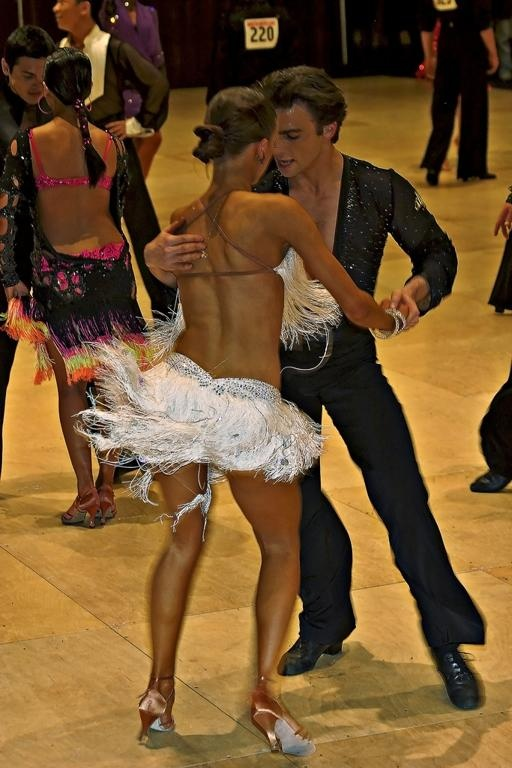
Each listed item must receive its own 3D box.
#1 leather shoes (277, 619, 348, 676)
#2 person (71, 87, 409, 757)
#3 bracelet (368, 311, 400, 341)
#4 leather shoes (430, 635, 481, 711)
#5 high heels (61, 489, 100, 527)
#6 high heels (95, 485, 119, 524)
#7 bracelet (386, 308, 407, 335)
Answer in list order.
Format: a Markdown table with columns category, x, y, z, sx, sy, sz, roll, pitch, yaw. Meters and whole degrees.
| category | x | y | z | sx | sy | sz | roll | pitch | yaw |
| --- | --- | --- | --- | --- | --- | --- | --- | --- | --- |
| leather shoes | 0.193 | 0.748 | 1.928 | 0.255 | 0.096 | 0.083 | -20 | 22 | -18 |
| person | -0.059 | 0.106 | 1.399 | 0.584 | 1.404 | 0.470 | 2 | 3 | 23 |
| bracelet | 0.320 | -0.147 | 1.579 | 0.070 | 0.067 | 0.024 | -15 | -18 | 40 |
| leather shoes | 0.528 | 0.755 | 1.722 | 0.064 | 0.062 | 0.171 | -10 | 38 | -8 |
| high heels | -0.813 | 0.549 | 2.937 | 0.127 | 0.156 | 0.215 | 1 | 3 | -38 |
| high heels | -0.669 | 0.545 | 2.986 | 0.065 | 0.086 | 0.177 | -2 | 40 | -6 |
| bracelet | 0.328 | -0.150 | 1.555 | 0.060 | 0.058 | 0.022 | 19 | 23 | 36 |
